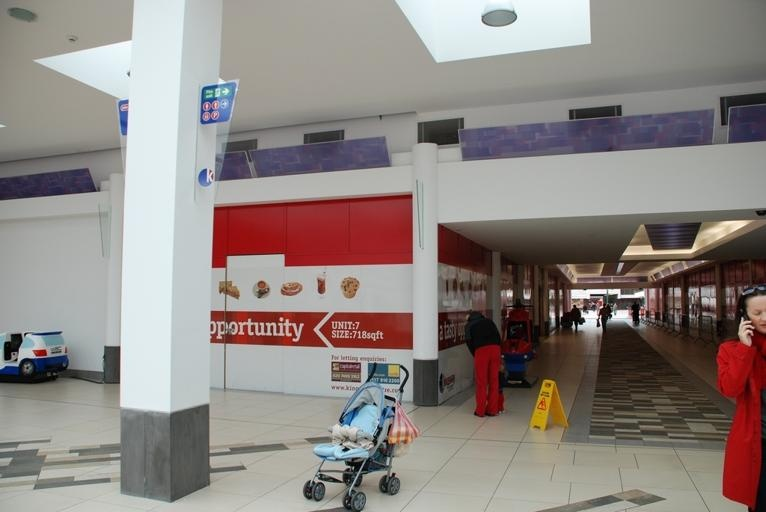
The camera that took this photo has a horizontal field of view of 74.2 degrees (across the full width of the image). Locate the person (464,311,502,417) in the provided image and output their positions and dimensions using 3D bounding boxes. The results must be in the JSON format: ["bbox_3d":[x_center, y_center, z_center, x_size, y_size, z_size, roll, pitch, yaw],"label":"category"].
[{"bbox_3d":[2.227,2.318,11.079,0.584,1.815,0.846,-3,-2,36],"label":"person"}]
